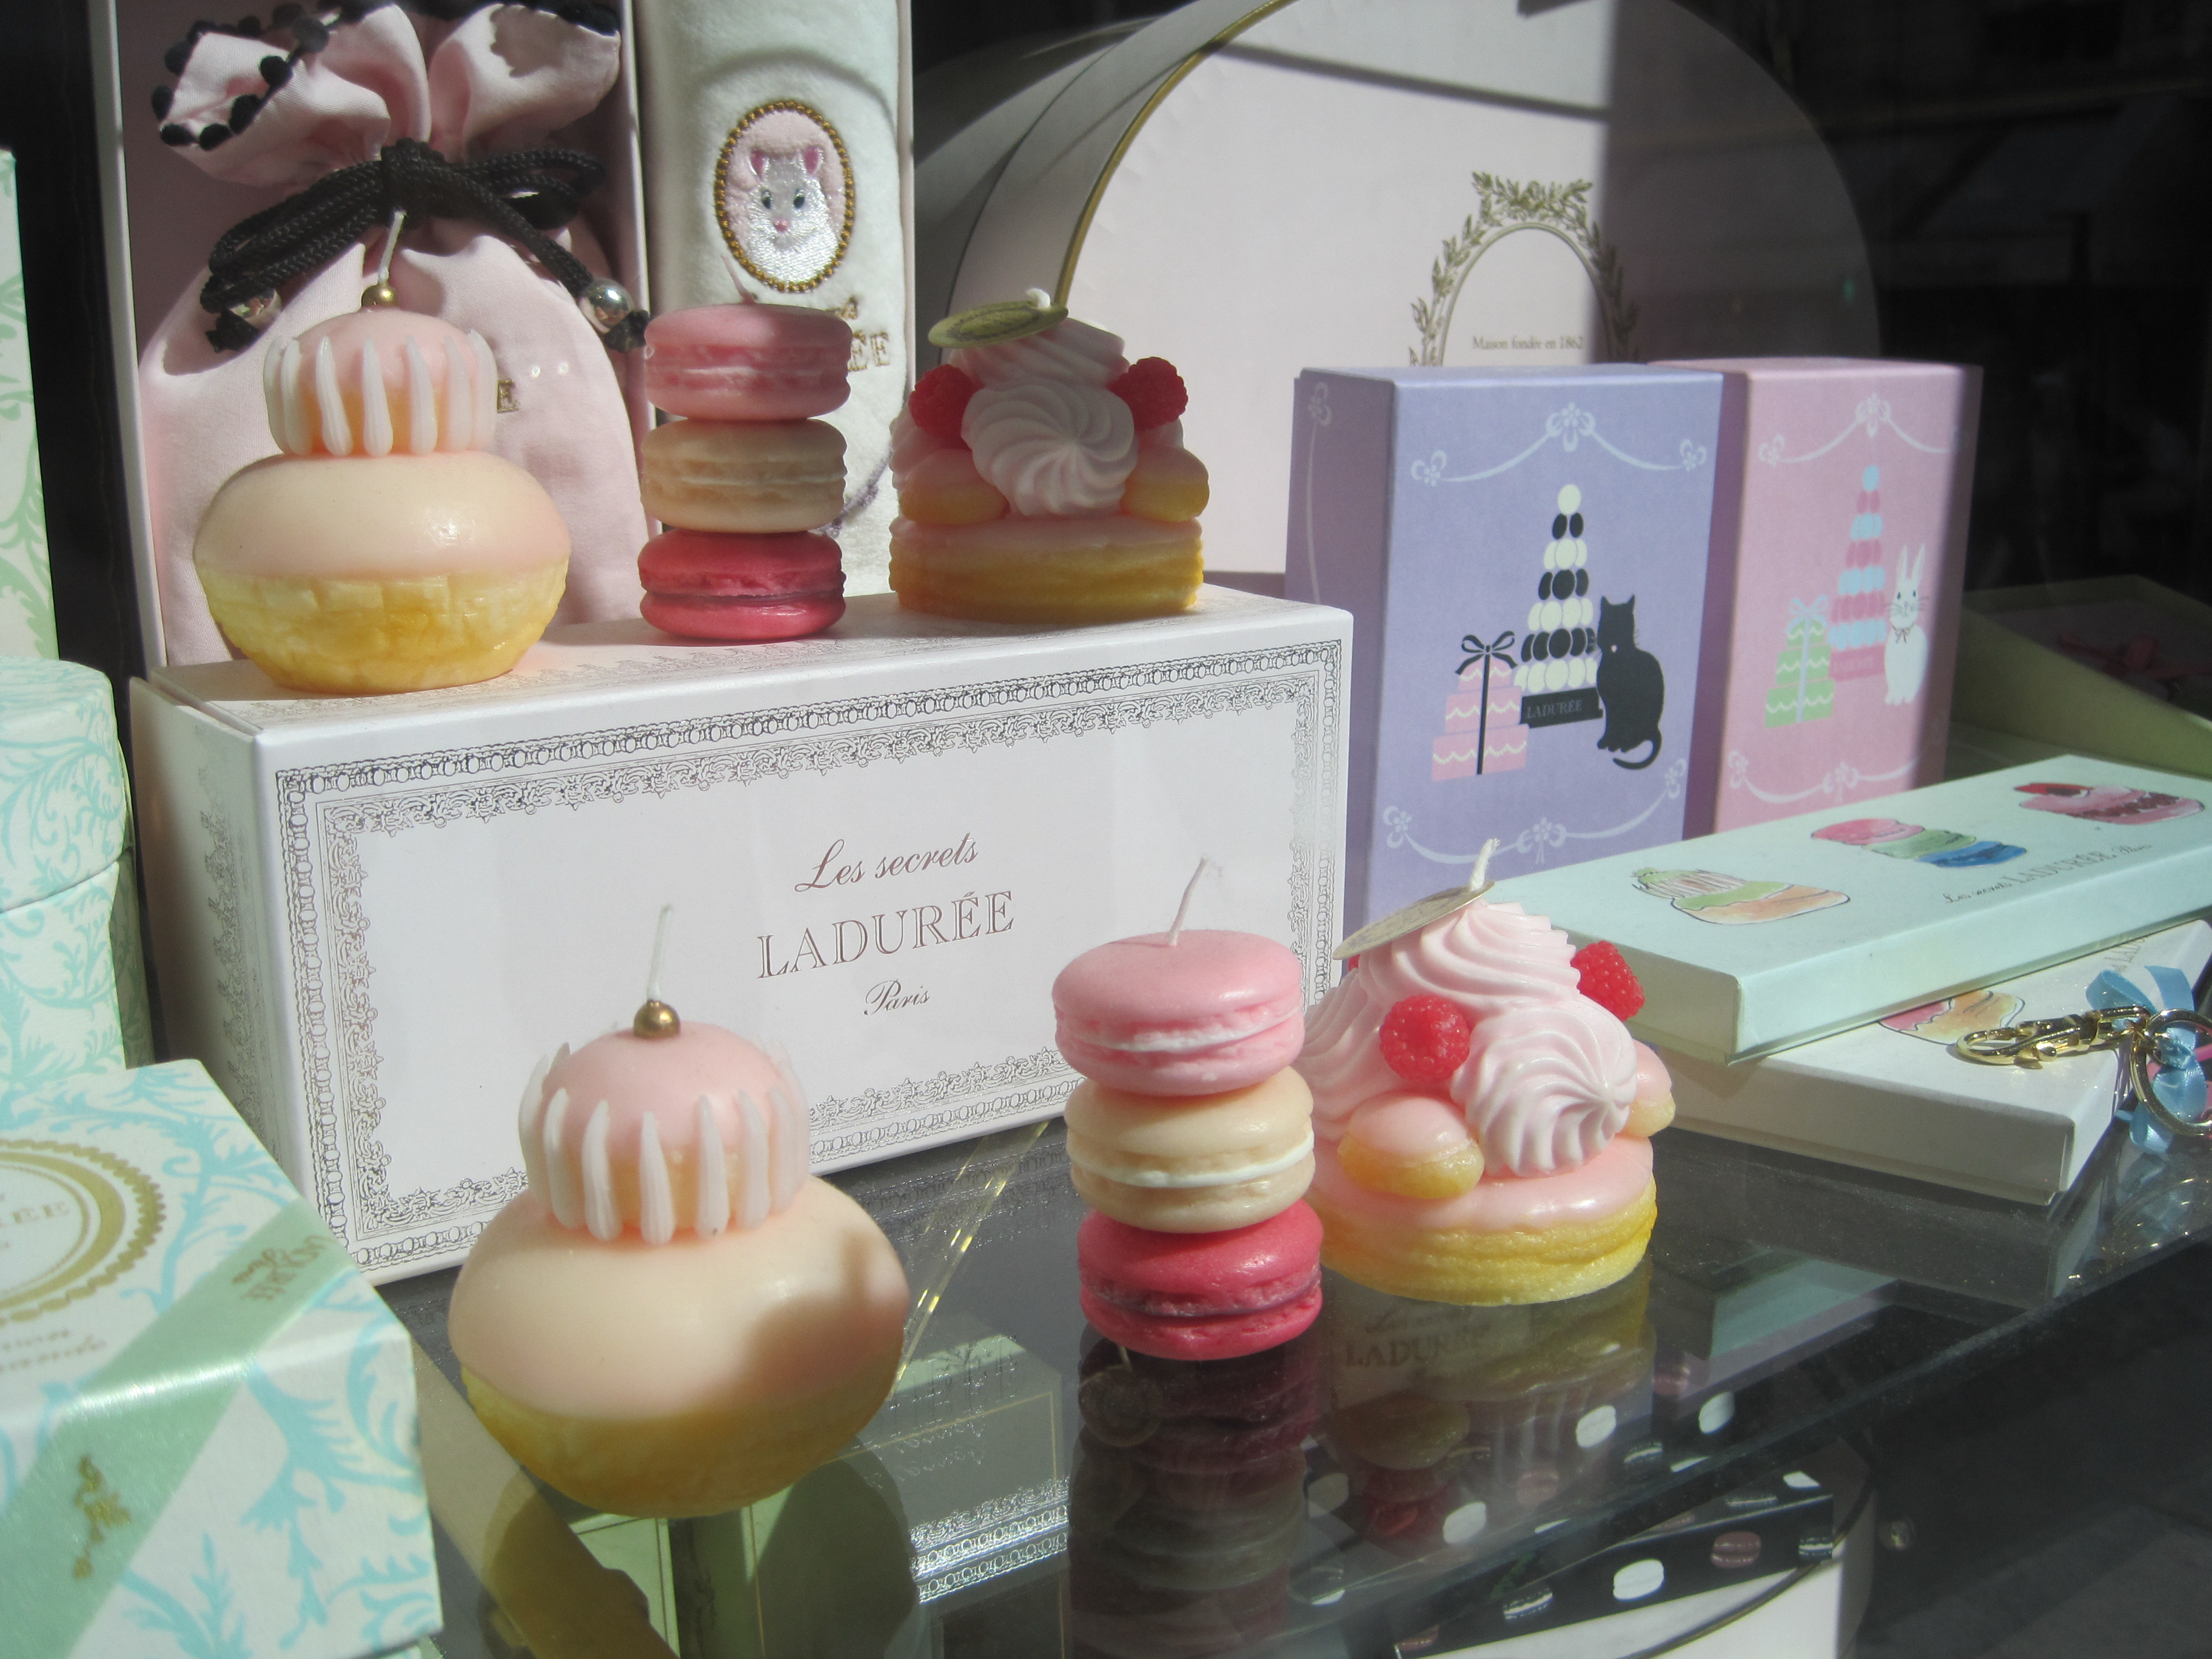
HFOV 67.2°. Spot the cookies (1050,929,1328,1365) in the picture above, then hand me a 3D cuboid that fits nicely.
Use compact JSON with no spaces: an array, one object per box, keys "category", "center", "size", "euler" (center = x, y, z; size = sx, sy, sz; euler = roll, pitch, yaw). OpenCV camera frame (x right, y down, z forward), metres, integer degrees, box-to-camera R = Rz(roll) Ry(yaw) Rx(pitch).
[{"category":"cookies","center":[0.036,0.118,0.704],"size":[0.104,0.172,0.134],"euler":[-3,18,1]}]

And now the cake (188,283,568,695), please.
[{"category":"cake","center":[-0.315,-0.151,0.736],"size":[0.153,0.159,0.155],"euler":[-1,17,-9]}]

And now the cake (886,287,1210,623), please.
[{"category":"cake","center":[-0.034,-0.181,0.917],"size":[0.167,0.154,0.161],"euler":[-1,3,-26]}]

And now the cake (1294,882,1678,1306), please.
[{"category":"cake","center":[0.158,0.119,0.770],"size":[0.159,0.156,0.164],"euler":[4,12,8]}]
